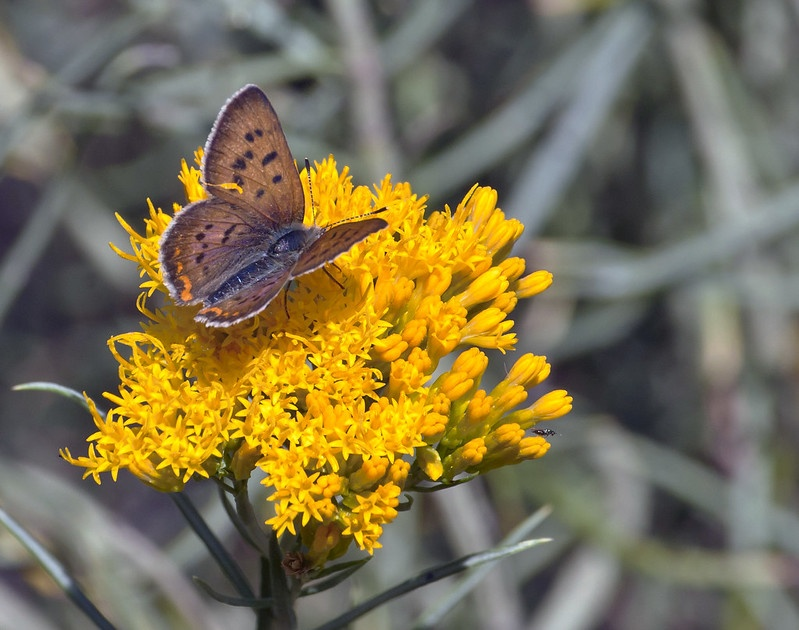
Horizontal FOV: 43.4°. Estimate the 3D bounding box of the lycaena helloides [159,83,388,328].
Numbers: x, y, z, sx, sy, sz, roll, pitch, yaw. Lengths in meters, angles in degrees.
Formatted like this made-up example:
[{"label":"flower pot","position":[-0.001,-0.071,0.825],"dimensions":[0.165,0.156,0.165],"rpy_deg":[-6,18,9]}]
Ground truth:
[{"label":"lycaena helloides","position":[-0.197,-0.126,1.651],"dimensions":[0.325,0.416,0.212],"rpy_deg":[-20,51,33]}]
